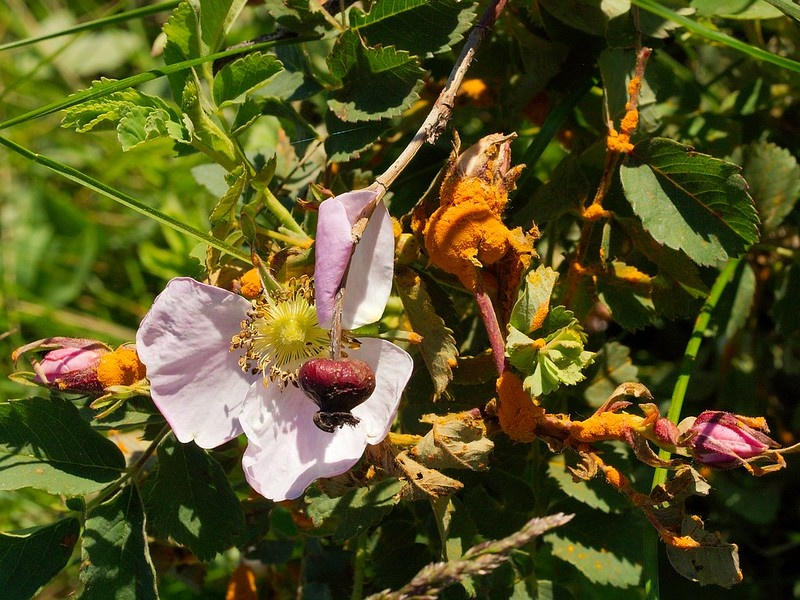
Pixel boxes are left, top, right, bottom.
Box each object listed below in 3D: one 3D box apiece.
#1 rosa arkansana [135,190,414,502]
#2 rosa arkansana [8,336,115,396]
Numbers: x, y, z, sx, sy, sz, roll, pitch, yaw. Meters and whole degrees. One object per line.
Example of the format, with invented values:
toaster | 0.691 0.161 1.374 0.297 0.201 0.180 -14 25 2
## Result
rosa arkansana | -0.153 0.062 1.232 0.340 0.307 0.249 -10 42 -16
rosa arkansana | -0.462 0.093 1.351 0.107 0.046 0.085 -3 63 -4
